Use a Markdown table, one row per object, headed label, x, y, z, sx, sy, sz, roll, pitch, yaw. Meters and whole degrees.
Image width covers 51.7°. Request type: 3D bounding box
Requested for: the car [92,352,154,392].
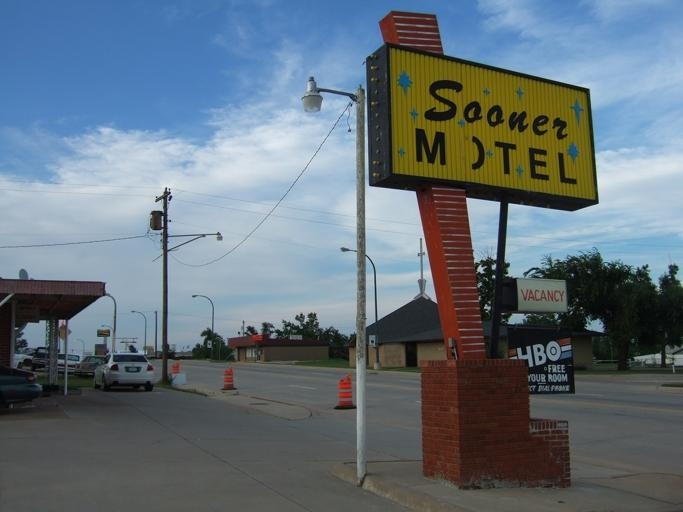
| label | x | y | z | sx | sy | sz | roll | pitch | yaw |
| --- | --- | --- | --- | --- | --- | --- | --- | --- | --- |
| car | -8.987 | 4.815 | 29.202 | 2.566 | 1.623 | 1.580 | -2 | -10 | 3 |
